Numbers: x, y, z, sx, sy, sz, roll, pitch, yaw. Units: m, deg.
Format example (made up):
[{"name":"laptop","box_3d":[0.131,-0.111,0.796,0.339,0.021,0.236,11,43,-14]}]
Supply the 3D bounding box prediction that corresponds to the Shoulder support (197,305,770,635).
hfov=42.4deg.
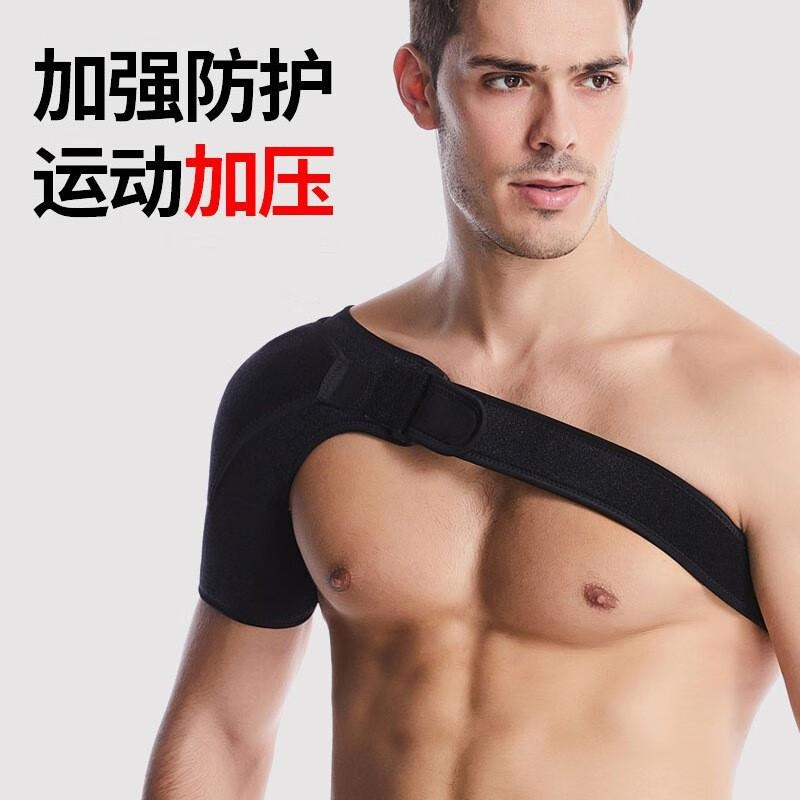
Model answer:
[{"name":"Shoulder support","box_3d":[0.090,0.158,1.605,0.767,0.508,0.315,11,62,35]}]
